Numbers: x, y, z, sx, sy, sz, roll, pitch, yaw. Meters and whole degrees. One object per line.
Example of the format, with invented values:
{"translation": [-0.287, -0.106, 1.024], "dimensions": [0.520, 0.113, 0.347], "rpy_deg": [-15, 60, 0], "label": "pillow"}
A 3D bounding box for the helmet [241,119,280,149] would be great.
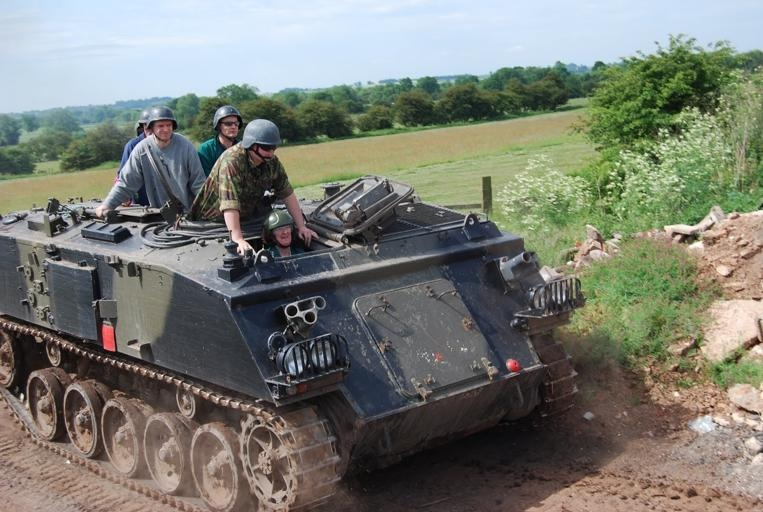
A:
{"translation": [-1.728, -1.641, 10.207], "dimensions": [0.407, 0.273, 0.418], "rpy_deg": [-1, -2, -29], "label": "helmet"}

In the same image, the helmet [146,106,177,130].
{"translation": [-3.532, -2.161, 11.623], "dimensions": [0.337, 0.258, 0.413], "rpy_deg": [-1, 11, -28], "label": "helmet"}

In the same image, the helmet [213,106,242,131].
{"translation": [-2.580, -2.242, 11.995], "dimensions": [0.395, 0.350, 0.421], "rpy_deg": [-8, 10, -34], "label": "helmet"}

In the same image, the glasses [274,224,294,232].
{"translation": [-1.345, -0.361, 9.997], "dimensions": [0.105, 0.059, 0.142], "rpy_deg": [0, -8, -41], "label": "glasses"}
